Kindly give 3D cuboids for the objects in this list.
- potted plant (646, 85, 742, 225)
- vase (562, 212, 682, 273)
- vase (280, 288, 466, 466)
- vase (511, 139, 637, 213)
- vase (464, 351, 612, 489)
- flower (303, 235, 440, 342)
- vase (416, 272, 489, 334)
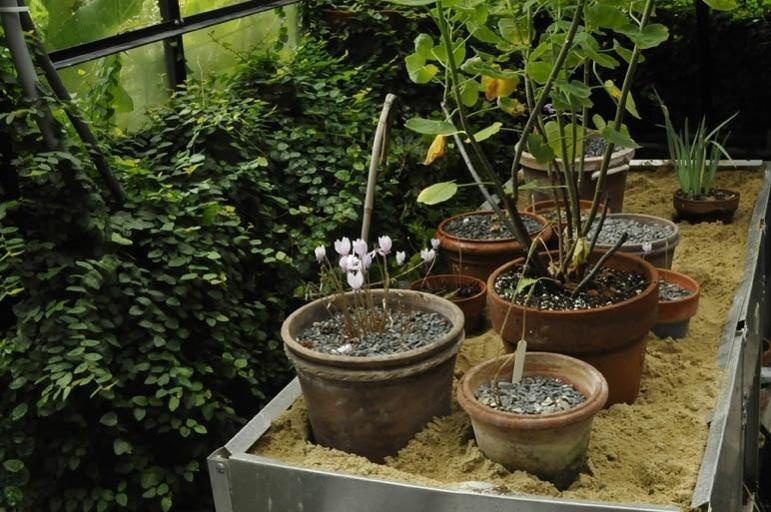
[{"bbox_3d":[2.024,-0.644,4.204,0.461,0.802,0.489,-14,26,-18],"label":"potted plant"},{"bbox_3d":[1.216,-0.102,3.232,0.406,0.231,0.378,1,15,12],"label":"vase"},{"bbox_3d":[-0.055,0.526,2.627,0.606,0.421,0.622,7,15,41],"label":"vase"},{"bbox_3d":[1.240,-0.478,4.062,0.651,0.411,0.579,-5,12,-5],"label":"vase"},{"bbox_3d":[0.539,0.557,2.350,0.512,0.321,0.487,4,21,24],"label":"vase"},{"bbox_3d":[-0.078,0.164,2.652,0.497,0.481,0.320,14,21,34],"label":"flower"},{"bbox_3d":[0.353,0.196,3.282,0.348,0.187,0.317,-6,14,-8],"label":"vase"}]
